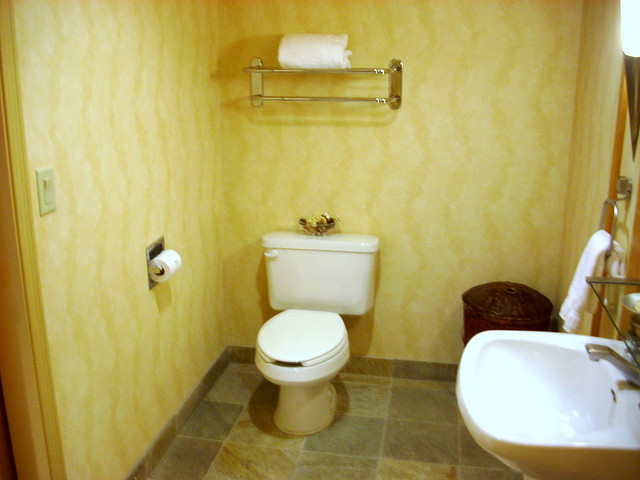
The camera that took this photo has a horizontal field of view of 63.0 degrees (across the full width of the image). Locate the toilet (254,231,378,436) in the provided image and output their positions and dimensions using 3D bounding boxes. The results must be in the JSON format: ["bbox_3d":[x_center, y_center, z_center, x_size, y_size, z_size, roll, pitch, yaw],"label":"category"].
[{"bbox_3d":[-0.072,0.471,2.655,0.544,0.867,0.802,6,20,17],"label":"toilet"}]

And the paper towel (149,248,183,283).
[{"bbox_3d":[-0.672,0.118,2.269,0.107,0.113,0.132,9,14,0],"label":"paper towel"}]

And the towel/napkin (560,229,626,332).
[{"bbox_3d":[0.951,0.156,1.832,0.167,0.349,0.348,9,20,39],"label":"towel/napkin"}]
